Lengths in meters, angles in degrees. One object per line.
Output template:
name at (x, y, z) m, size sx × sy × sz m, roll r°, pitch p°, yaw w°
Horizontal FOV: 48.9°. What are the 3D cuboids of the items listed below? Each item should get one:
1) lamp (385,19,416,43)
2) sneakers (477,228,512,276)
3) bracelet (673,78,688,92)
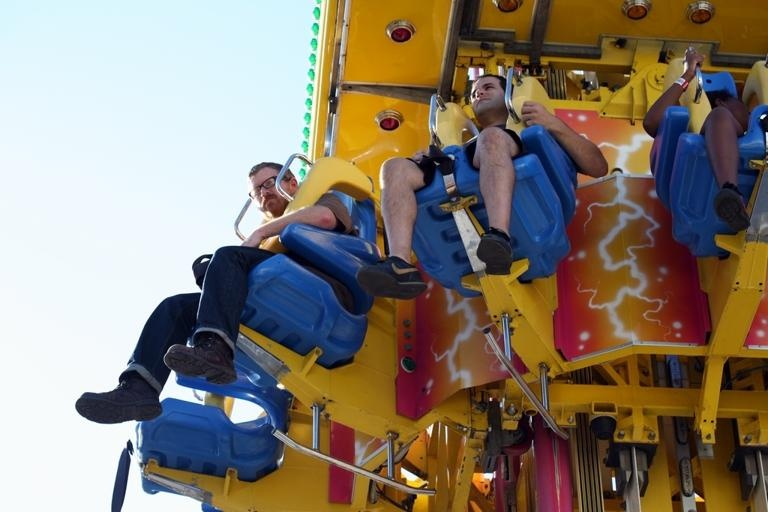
lamp at (0.217, -2.928, 10.980) m, size 0.370 × 0.120 × 0.285 m, roll -16°, pitch -35°, yaw 28°
sneakers at (0.935, -0.021, 7.086) m, size 0.224 × 0.185 × 0.412 m, roll 0°, pitch -53°, yaw 14°
bracelet at (2.830, -1.628, 8.049) m, size 0.081 × 0.126 × 0.118 m, roll 31°, pitch -9°, yaw 14°
